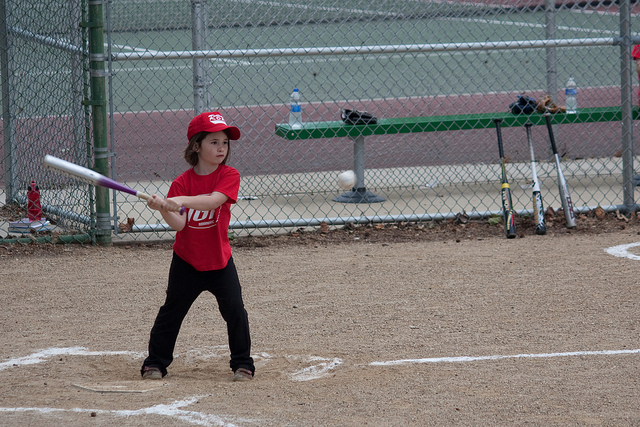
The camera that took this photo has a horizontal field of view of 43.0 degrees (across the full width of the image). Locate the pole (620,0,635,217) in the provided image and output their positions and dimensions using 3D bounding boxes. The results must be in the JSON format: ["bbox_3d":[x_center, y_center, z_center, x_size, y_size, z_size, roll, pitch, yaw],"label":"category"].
[{"bbox_3d":[3.198,-1.082,8.462,0.123,2.240,0.327,0,0,21],"label":"pole"}]

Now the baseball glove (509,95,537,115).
[{"bbox_3d":[2.318,-1.235,9.243,0.219,0.120,0.269,0,9,-28],"label":"baseball glove"}]

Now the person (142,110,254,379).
[{"bbox_3d":[-0.860,0.232,5.737,0.692,1.870,0.448,0,0,-29],"label":"person"}]

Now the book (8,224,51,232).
[{"bbox_3d":[-3.044,0.158,8.554,0.416,0.078,0.157,0,-1,-19],"label":"book"}]

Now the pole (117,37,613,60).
[{"bbox_3d":[0.496,-1.657,8.166,4.916,0.298,0.303,0,-1,-4],"label":"pole"}]

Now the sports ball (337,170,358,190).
[{"bbox_3d":[0.320,-0.390,9.279,0.182,0.193,0.258,0,-1,8],"label":"sports ball"}]

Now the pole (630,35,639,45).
[{"bbox_3d":[3.251,-1.802,8.399,0.098,0.088,0.052,0,1,28],"label":"pole"}]

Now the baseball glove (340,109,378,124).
[{"bbox_3d":[0.465,-1.142,9.650,0.315,0.125,0.228,-1,5,0],"label":"baseball glove"}]

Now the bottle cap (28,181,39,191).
[{"bbox_3d":[-3.029,-0.289,8.629,0.099,0.093,0.097,1,11,-7],"label":"bottle cap"}]
